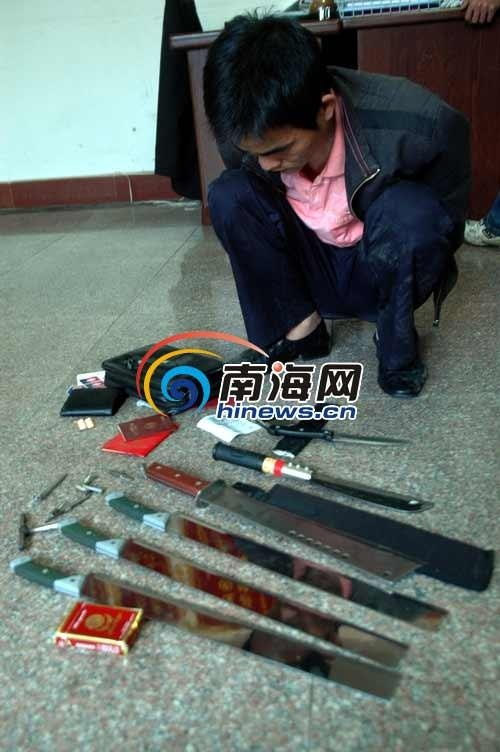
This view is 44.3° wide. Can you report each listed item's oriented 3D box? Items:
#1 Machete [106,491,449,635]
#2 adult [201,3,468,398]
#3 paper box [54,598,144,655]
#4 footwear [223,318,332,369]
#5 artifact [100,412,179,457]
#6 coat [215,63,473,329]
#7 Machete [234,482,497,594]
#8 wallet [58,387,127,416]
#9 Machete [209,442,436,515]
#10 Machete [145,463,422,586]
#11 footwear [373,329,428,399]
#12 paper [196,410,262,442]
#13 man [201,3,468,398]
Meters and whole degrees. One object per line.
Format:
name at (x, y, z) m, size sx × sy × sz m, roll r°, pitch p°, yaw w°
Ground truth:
Machete at (0.050, 0.321, 1.027) m, size 0.468 × 0.020 × 0.055 m, roll 13°, pitch 49°, yaw 16°
adult at (0.204, -0.461, 1.615) m, size 0.642 × 0.821 × 0.717 m, roll -26°, pitch 29°, yaw -33°
paper box at (-0.230, 0.369, 0.917) m, size 0.086 × 0.019 × 0.065 m, roll 4°, pitch 24°, yaw 13°
footwear at (0.064, -0.092, 1.782) m, size 0.372 × 0.145 × 0.111 m, roll -2°, pitch 14°, yaw -11°
artifact at (-0.259, 0.137, 1.469) m, size 0.126 × 0.031 × 0.193 m, roll 6°, pitch 23°, yaw 25°
coat at (0.318, -0.523, 1.769) m, size 0.747 × 0.573 × 0.371 m, roll 18°, pitch 71°, yaw 25°
Machete at (0.176, 0.288, 1.122) m, size 0.500 × 0.036 × 0.134 m, roll 15°, pitch 28°, yaw 27°
wallet at (-0.415, 0.070, 1.622) m, size 0.145 × 0.044 × 0.138 m, roll -1°, pitch 21°, yaw 9°
Machete at (0.150, 0.214, 1.238) m, size 0.326 × 0.032 × 0.046 m, roll 13°, pitch 41°, yaw 23°
Machete at (0.062, 0.278, 1.115) m, size 0.444 × 0.036 × 0.059 m, roll 16°, pitch 27°, yaw 32°
footwear at (0.389, -0.013, 1.561) m, size 0.089 × 0.078 × 0.219 m, roll -8°, pitch 42°, yaw 7°
paper at (-0.053, 0.125, 1.481) m, size 0.099 × 0.024 × 0.132 m, roll -21°, pitch 27°, yaw -37°
man at (0.215, -0.457, 1.622) m, size 0.702 × 0.803 × 0.628 m, roll 12°, pitch 31°, yaw 38°
